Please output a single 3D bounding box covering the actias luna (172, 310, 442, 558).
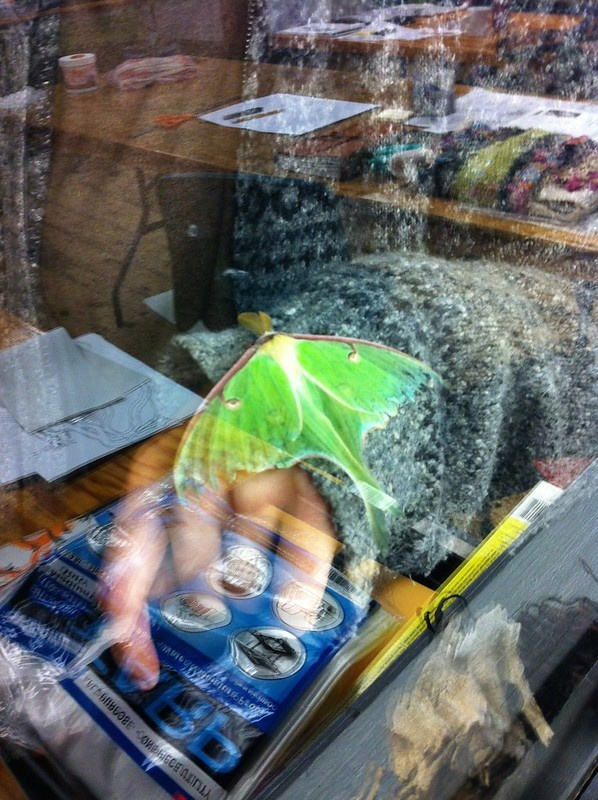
[{"bbox_3d":[0.019,0.021,0.624,0.218,0.267,0.083,25,35,19],"label":"actias luna"}]
